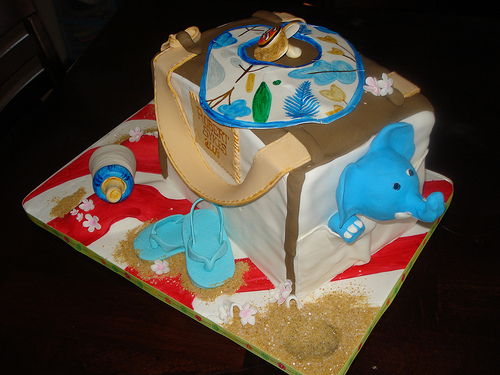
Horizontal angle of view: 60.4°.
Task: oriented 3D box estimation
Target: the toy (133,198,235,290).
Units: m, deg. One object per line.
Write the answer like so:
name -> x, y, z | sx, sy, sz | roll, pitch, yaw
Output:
toy -> -0.198, 0.197, 1.556 | 0.378, 0.125, 0.392 | 27, 33, 30

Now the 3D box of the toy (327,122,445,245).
toy -> 0.413, 0.019, 1.187 | 0.260, 0.193, 0.359 | 31, 70, 32

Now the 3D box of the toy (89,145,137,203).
toy -> -0.532, -0.049, 1.659 | 0.168, 0.138, 0.252 | -16, 60, -6

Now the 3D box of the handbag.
handbag -> 0.132, 0.001, 1.591 | 0.883, 0.637, 0.953 | -29, 56, -26

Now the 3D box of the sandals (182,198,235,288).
sandals -> -0.155, 0.205, 1.555 | 0.183, 0.115, 0.383 | -5, 26, -6
